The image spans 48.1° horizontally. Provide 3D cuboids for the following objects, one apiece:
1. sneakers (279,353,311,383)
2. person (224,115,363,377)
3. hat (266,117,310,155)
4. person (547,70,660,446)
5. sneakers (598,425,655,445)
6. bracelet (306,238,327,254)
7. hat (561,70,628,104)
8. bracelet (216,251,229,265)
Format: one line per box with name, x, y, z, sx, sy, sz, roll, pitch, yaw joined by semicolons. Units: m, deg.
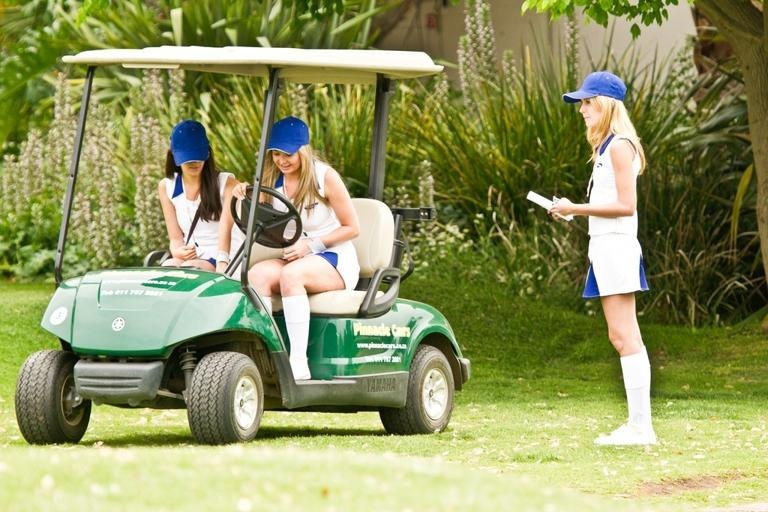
sneakers;-0.482;0.629;4.818;0.097;0.111;0.264;6;2;29
person;-0.488;-0.056;4.996;0.697;1.134;0.545;5;2;-3
hat;-0.557;-0.682;4.892;0.163;0.143;0.253;6;11;16
person;1.240;0.014;4.704;0.674;1.895;0.397;6;2;14
sneakers;1.326;0.982;4.714;0.217;0.076;0.151;1;-4;6
bracelet;-0.393;-0.056;4.989;0.072;0.099;0.082;-25;-4;17
hat;1.170;-0.921;4.783;0.314;0.181;0.198;8;4;3
bracelet;-0.949;0.007;5.029;0.063;0.050;0.062;3;-6;-37
